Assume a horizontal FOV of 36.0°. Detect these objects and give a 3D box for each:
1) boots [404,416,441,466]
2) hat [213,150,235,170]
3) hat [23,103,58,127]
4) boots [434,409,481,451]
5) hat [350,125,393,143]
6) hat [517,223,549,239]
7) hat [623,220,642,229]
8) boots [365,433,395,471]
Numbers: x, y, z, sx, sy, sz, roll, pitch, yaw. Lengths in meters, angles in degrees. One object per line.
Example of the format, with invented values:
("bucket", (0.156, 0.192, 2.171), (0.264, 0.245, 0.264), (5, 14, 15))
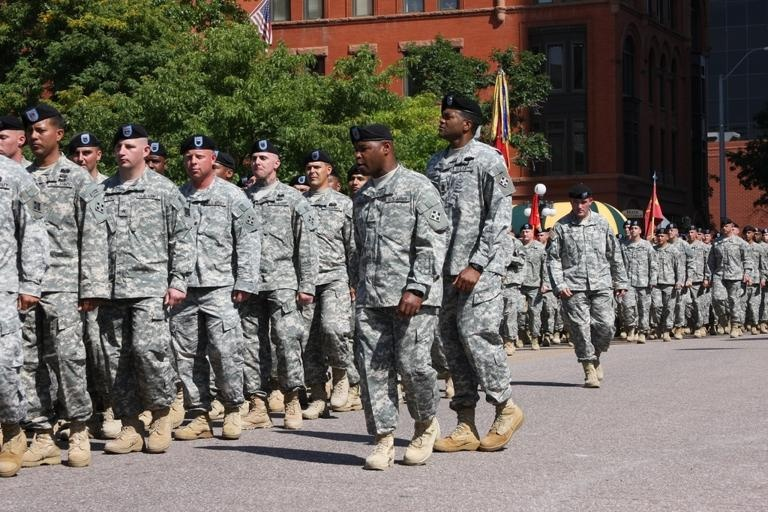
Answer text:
("boots", (0.347, 1.847, 12.170), (0.235, 0.276, 0.615), (9, 50, 31))
("hat", (-2.031, -1.227, 15.103), (0.280, 0.085, 0.189), (21, 3, -9))
("hat", (-3.614, -1.499, 12.574), (0.301, 0.100, 0.286), (-8, 9, 6))
("boots", (0.717, 1.863, 12.621), (0.667, 0.420, 0.271), (2, 1, -39))
("hat", (-0.155, -1.241, 11.965), (0.318, 0.093, 0.237), (2, -3, -32))
("hat", (3.348, -0.567, 26.835), (0.700, 0.285, 0.386), (-1, 2, 1))
("hat", (5.951, -0.763, 28.716), (0.496, 0.129, 0.502), (-1, -3, 18))
("boots", (-0.042, 1.974, 11.960), (0.211, 0.331, 0.350), (1, 6, 40))
